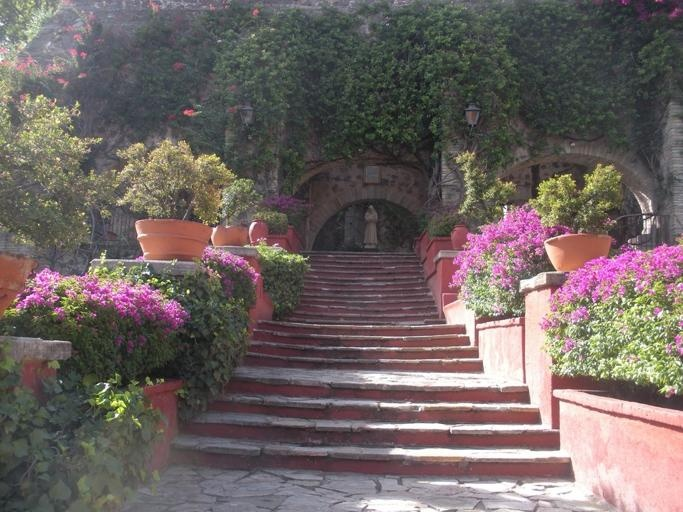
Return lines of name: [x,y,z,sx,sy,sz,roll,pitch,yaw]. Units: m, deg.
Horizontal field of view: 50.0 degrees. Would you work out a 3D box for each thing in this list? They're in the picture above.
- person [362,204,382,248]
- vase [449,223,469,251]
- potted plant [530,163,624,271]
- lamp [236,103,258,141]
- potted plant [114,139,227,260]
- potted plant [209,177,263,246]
person: [0.918,-0.909,22.076,0.351,1.256,1.107,2,-11,0]
vase: [2.179,-0.317,13.465,0.476,0.506,0.173,5,9,34]
potted plant: [3.031,-0.453,9.329,1.044,1.486,0.860,-2,-11,23]
lamp: [-2.233,-3.175,17.503,0.397,0.807,0.205,2,-6,8]
potted plant: [-2.480,-0.809,11.076,1.262,1.809,1.777,10,6,15]
potted plant: [-2.043,-1.007,14.058,0.932,1.733,1.139,-8,19,-15]
